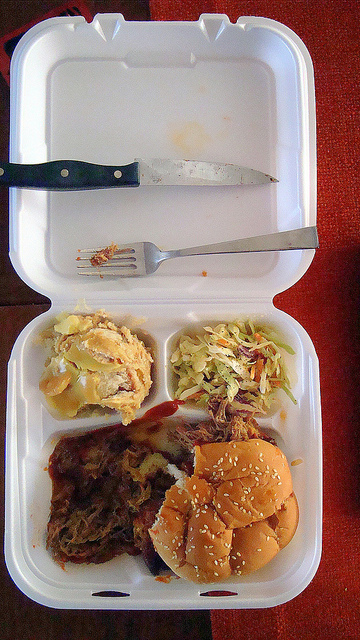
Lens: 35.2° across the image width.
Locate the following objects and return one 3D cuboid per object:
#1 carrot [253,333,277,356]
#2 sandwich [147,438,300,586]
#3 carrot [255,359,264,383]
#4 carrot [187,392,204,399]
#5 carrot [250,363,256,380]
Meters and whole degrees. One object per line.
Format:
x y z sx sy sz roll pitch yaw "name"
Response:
0.300 0.082 2.055 0.022 0.062 0.084 -43 94 0 "carrot"
0.185 0.634 1.880 0.473 0.218 0.502 24 82 2 "sandwich"
0.283 0.179 2.017 0.026 0.013 0.084 6 92 20 "carrot"
0.056 0.271 2.058 0.054 0.015 0.014 -13 74 -24 "carrot"
0.260 0.181 2.011 0.013 0.013 0.051 12 74 -6 "carrot"
